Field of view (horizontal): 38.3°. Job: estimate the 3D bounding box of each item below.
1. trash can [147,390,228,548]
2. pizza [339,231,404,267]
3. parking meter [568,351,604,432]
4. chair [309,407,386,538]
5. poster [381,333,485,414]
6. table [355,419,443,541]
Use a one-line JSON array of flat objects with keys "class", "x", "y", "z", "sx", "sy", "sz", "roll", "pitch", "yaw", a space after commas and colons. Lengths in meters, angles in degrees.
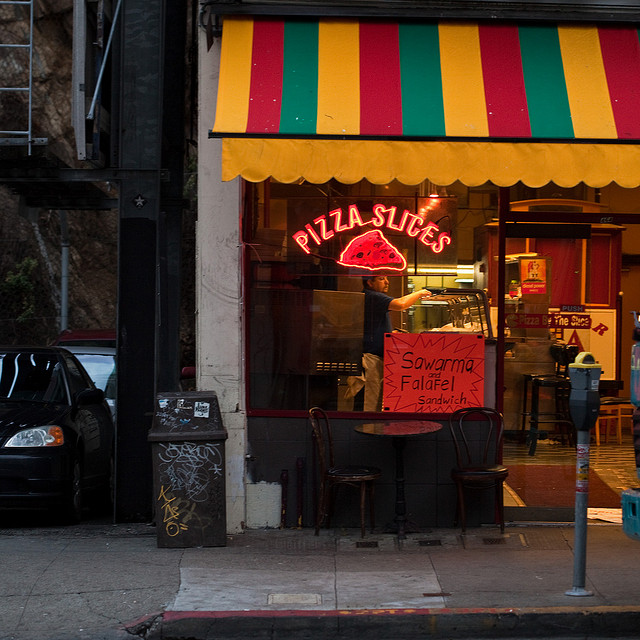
[{"class": "trash can", "x": -1.262, "y": 1.296, "z": 8.059, "sx": 0.771, "sy": 1.153, "sz": 0.672, "roll": 1, "pitch": 6, "yaw": -16}, {"class": "pizza", "x": 0.463, "y": -0.657, "z": 8.818, "sx": 0.571, "sy": 0.338, "sz": 0.123, "roll": 7, "pitch": -1, "yaw": -5}, {"class": "parking meter", "x": 1.907, "y": 0.520, "z": 6.631, "sx": 0.217, "sy": 0.556, "sz": 0.402, "roll": 0, "pitch": -2, "yaw": 16}, {"class": "chair", "x": 0.256, "y": 1.376, "z": 8.394, "sx": 0.736, "sy": 1.115, "sz": 0.554, "roll": 0, "pitch": -1, "yaw": 1}, {"class": "poster", "x": 1.058, "y": 0.496, "z": 8.673, "sx": 0.941, "sy": 0.745, "sz": 0.083, "roll": 1, "pitch": -2, "yaw": 2}, {"class": "table", "x": 0.701, "y": 1.439, "z": 8.253, "sx": 0.788, "sy": 1.034, "sz": 0.829, "roll": 0, "pitch": -2, "yaw": 6}]
